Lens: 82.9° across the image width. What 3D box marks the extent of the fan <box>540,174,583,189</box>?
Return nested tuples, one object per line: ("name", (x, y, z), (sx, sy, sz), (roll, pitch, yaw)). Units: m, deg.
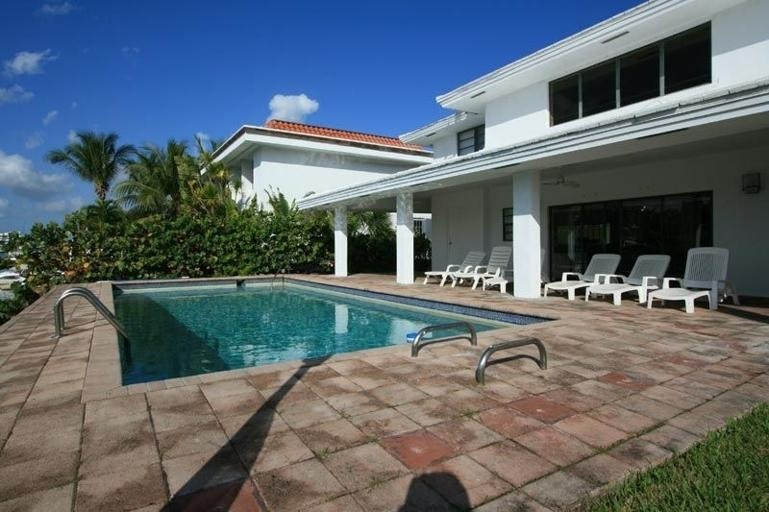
("fan", (5.231, -2.226, 12.976), (0.942, 0.362, 2.577), (-1, 5, 20))
